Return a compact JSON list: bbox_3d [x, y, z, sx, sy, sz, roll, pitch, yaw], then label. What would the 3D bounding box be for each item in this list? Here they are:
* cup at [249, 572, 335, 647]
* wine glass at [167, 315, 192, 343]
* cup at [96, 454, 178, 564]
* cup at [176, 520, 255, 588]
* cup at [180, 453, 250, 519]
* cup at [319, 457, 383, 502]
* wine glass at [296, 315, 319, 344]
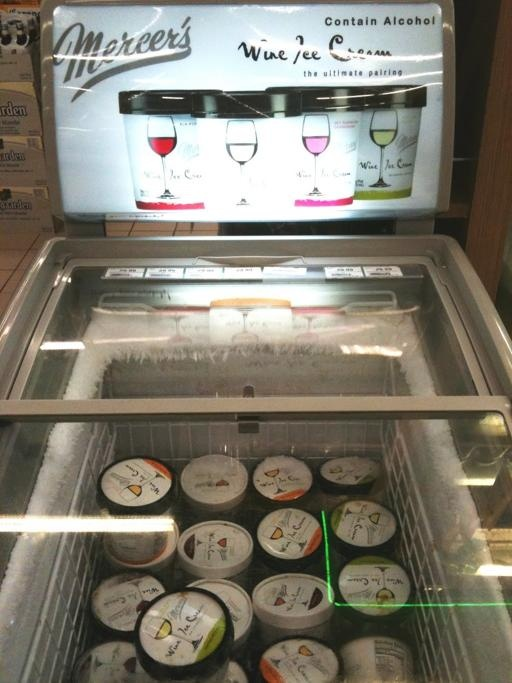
[{"bbox_3d":[0.046,0.337,0.656,0.101,0.043,0.069,0,29,1],"label":"cup"},{"bbox_3d":[-0.140,-0.026,0.969,0.040,0.043,0.042,1,-6,-1],"label":"wine glass"},{"bbox_3d":[-0.153,0.235,0.750,0.119,0.110,0.117,5,39,-4],"label":"cup"},{"bbox_3d":[-0.054,0.281,0.701,0.102,0.040,0.070,1,29,2],"label":"cup"},{"bbox_3d":[-0.059,0.208,0.753,0.099,0.047,0.084,-6,30,-10],"label":"cup"},{"bbox_3d":[0.140,0.201,0.769,0.092,0.033,0.053,0,29,0],"label":"cup"},{"bbox_3d":[0.093,-0.026,0.965,0.044,0.042,0.079,5,25,2],"label":"wine glass"}]
